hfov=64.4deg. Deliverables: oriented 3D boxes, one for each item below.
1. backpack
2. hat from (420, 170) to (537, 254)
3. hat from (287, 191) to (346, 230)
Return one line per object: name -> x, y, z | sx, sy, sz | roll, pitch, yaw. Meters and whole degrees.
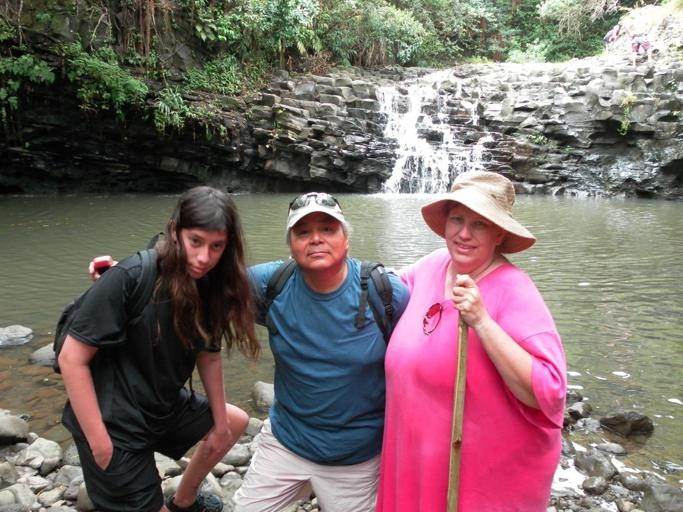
backpack -> -1.395, 0.327, 3.222 | 0.595, 0.745, 0.267 | -2, 8, -21
hat -> 0.921, -0.254, 3.333 | 0.611, 0.306, 0.561 | 35, -38, -24
hat -> -0.172, -0.302, 3.569 | 0.312, 0.178, 0.279 | 1, -1, -2
